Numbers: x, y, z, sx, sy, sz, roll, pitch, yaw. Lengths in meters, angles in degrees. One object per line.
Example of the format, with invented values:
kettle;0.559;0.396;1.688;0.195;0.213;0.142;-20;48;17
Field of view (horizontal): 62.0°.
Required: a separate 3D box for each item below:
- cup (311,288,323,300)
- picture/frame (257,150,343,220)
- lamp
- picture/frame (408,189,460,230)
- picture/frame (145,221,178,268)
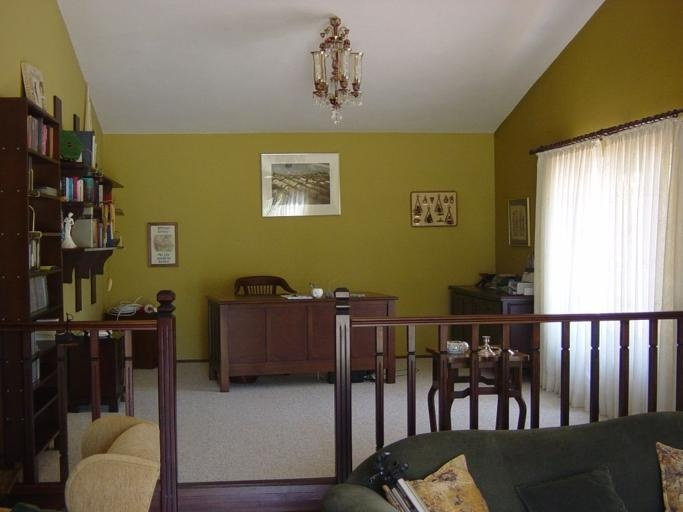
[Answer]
cup;-0.301;0.450;6.848;0.108;0.099;0.117;2;0;0
picture/frame;-0.642;-0.995;7.921;0.826;0.757;0.034;-1;2;-1
lamp;-0.074;-1.851;5.665;0.431;1.078;0.455;5;9;27
picture/frame;1.283;-0.671;8.126;0.497;0.427;0.069;0;-1;-7
picture/frame;-2.499;-0.167;7.809;0.548;0.886;0.080;0;-1;-8
